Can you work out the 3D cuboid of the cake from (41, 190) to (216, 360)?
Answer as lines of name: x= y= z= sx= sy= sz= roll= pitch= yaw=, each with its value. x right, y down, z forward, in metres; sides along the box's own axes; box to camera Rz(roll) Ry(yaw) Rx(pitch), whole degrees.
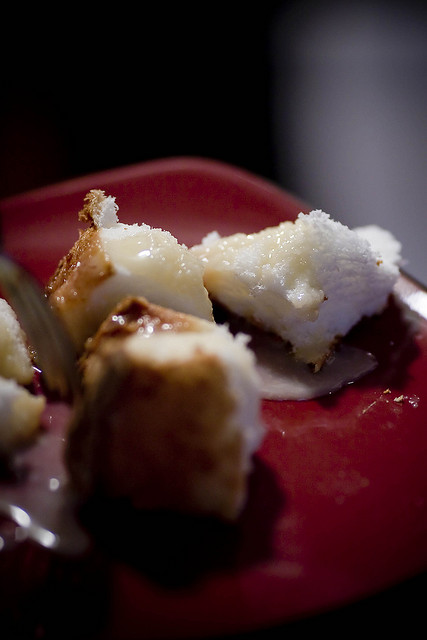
cake: x=-0.097 y=-0.073 z=0.663 sx=0.128 sy=0.056 sz=0.171 roll=-25 pitch=42 yaw=-16

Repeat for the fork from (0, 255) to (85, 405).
fork: x=-0.175 y=-0.015 z=0.632 sx=0.043 sy=0.015 sz=0.271 roll=-36 pitch=50 yaw=17

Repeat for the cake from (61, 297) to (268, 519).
cake: x=-0.043 y=0.067 z=0.541 sx=0.173 sy=0.149 sz=0.136 roll=5 pitch=45 yaw=4
